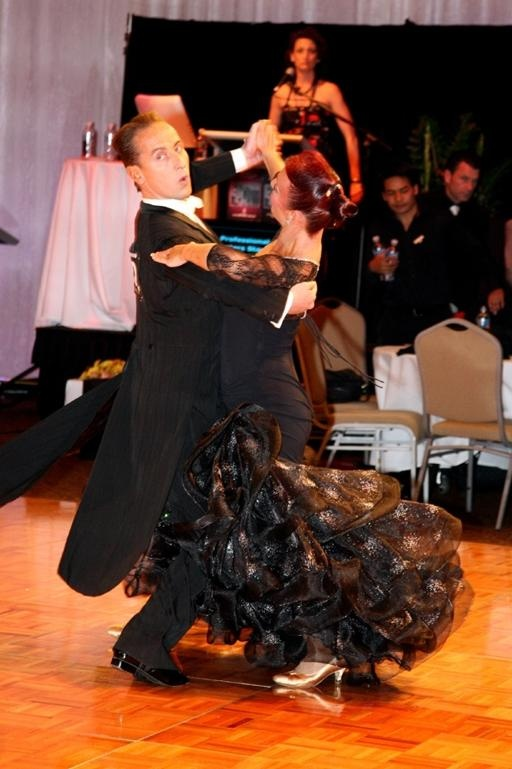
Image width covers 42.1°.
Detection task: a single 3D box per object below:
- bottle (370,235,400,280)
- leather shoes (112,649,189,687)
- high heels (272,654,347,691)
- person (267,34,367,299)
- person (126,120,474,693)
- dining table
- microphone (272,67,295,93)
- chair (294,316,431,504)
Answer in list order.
[{"bbox_3d":[1.113,-1.090,5.715,0.265,0.397,0.145,-3,15,-2],"label":"bottle"},{"bbox_3d":[-0.252,0.689,1.645,0.198,0.081,0.079,21,-10,-11],"label":"leather shoes"},{"bbox_3d":[0.132,0.712,1.635,0.169,0.063,0.082,2,-5,-10],"label":"high heels"},{"bbox_3d":[0.507,-1.902,6.250,0.899,2.694,0.816,15,49,19],"label":"person"},{"bbox_3d":[0.130,-0.032,1.652,0.826,1.548,0.526,4,-9,-14],"label":"person"},{"bbox_3d":[1.147,0.192,4.357,0.944,0.633,0.908,0,-5,1],"label":"dining table"},{"bbox_3d":[0.245,-2.646,5.771,0.068,0.245,0.067,2,37,-46],"label":"microphone"},{"bbox_3d":[0.648,0.122,4.256,0.784,1.162,0.674,0,8,4],"label":"chair"}]
